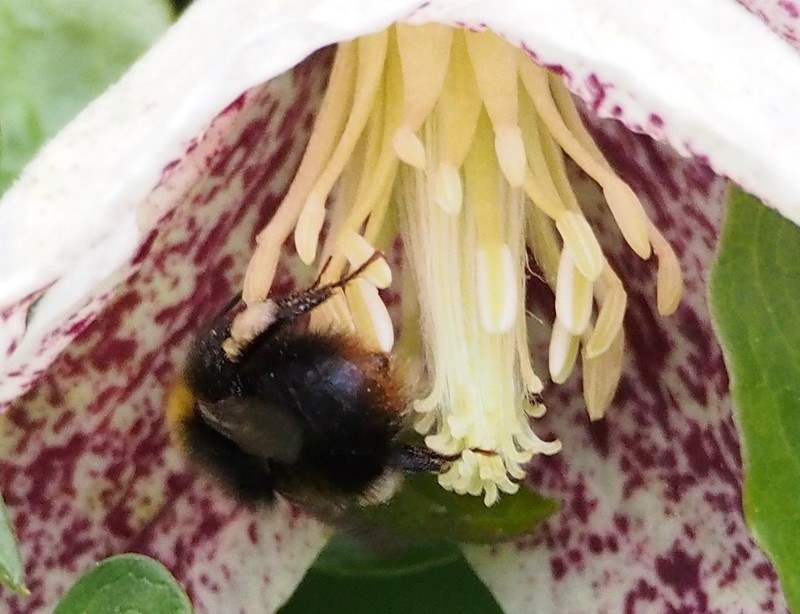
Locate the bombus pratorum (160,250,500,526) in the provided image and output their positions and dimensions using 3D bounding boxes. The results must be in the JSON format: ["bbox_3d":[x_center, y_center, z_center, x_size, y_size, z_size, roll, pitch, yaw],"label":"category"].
[{"bbox_3d":[-0.118,0.128,1.984,0.355,0.274,0.116,25,25,-44],"label":"bombus pratorum"}]
